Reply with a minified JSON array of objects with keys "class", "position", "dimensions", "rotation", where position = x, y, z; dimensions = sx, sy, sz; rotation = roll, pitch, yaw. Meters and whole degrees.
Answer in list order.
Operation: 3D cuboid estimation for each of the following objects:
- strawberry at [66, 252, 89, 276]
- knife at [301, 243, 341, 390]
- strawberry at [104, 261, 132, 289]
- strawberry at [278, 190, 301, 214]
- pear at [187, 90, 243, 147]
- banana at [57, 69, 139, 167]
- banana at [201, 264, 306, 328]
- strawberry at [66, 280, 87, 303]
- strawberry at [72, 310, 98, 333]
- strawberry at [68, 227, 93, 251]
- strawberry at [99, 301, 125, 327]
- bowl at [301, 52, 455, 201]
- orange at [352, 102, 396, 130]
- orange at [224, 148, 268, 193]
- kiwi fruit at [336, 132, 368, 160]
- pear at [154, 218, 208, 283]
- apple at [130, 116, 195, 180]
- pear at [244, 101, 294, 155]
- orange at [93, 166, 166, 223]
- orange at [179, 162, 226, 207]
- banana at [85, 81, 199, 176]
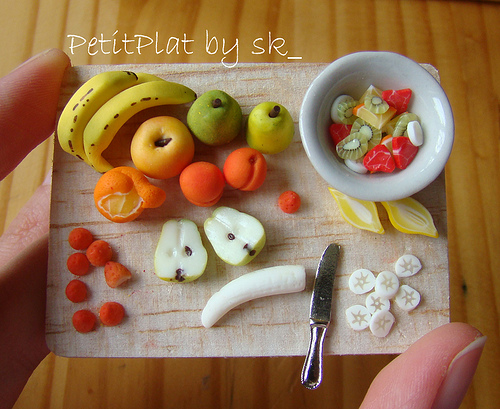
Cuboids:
[{"class":"strawberry","position":[-0.494,0.170,1.630],"dimensions":[0.049,0.029,0.065],"rotation":[3,86,-7]},{"class":"knife","position":[0.200,0.304,1.608],"dimensions":[0.064,0.032,0.486],"rotation":[9,86,2]},{"class":"strawberry","position":[-0.378,0.200,1.616],"dimensions":[0.061,0.046,0.083],"rotation":[-24,88,-17]},{"class":"strawberry","position":[0.112,-0.006,1.614],"dimensions":[0.048,0.030,0.063],"rotation":[-1,89,-1]},{"class":"pear","position":[-0.101,-0.246,1.580],"dimensions":[0.152,0.093,0.138],"rotation":[-11,84,-2]},{"class":"banana","position":[-0.437,-0.272,1.615],"dimensions":[0.127,0.117,0.315],"rotation":[34,84,4]},{"class":"banana","position":[0.008,0.246,1.612],"dimensions":[0.327,0.043,0.103],"rotation":[-20,84,-3]},{"class":"strawberry","position":[-0.497,0.249,1.632],"dimensions":[0.057,0.020,0.062],"rotation":[-34,85,-4]},{"class":"strawberry","position":[-0.474,0.330,1.622],"dimensions":[0.054,0.033,0.067],"rotation":[2,83,-13]},{"class":"strawberry","position":[-0.487,0.097,1.630],"dimensions":[0.049,0.029,0.066],"rotation":[4,88,-9]},{"class":"strawberry","position":[-0.396,0.314,1.621],"dimensions":[0.073,0.024,0.071],"rotation":[1,84,-1]},{"class":"bowl","position":[0.342,-0.205,1.561],"dimensions":[0.403,0.095,0.396],"rotation":[0,84,-1]},{"class":"orange","position":[0.337,-0.245,1.560],"dimensions":[0.079,0.042,0.082],"rotation":[40,93,8]},{"class":"orange","position":[-0.010,-0.097,1.636],"dimensions":[0.096,0.108,0.117],"rotation":[11,86,13]},{"class":"kiwi fruit","position":[0.285,-0.158,1.588],"dimensions":[0.082,0.035,0.104],"rotation":[16,47,16]},{"class":"pear","position":[-0.199,0.139,1.614],"dimensions":[0.126,0.070,0.192],"rotation":[-2,83,-4]},{"class":"apple","position":[-0.253,-0.138,1.648],"dimensions":[0.138,0.153,0.180],"rotation":[6,83,-4]},{"class":"pear","position":[0.054,-0.210,1.574],"dimensions":[0.118,0.137,0.141],"rotation":[-5,36,-4]},{"class":"orange","position":[-0.354,-0.033,1.623],"dimensions":[0.157,0.095,0.158],"rotation":[-2,107,-11]},{"class":"orange","position":[-0.132,-0.057,1.600],"dimensions":[0.124,0.097,0.117],"rotation":[-5,83,-1]},{"class":"banana","position":[-0.322,-0.258,1.674],"dimensions":[0.313,0.065,0.221],"rotation":[-37,91,4]}]
